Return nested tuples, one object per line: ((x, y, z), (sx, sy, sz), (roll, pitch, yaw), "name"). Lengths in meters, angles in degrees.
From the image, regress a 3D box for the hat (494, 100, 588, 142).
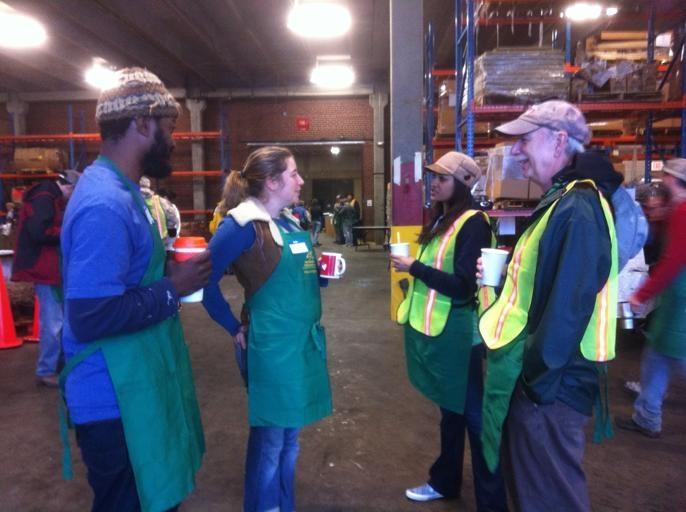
((1.152, -0.785, 3.517), (0.576, 0.272, 0.370), (4, 14, -2), "hat")

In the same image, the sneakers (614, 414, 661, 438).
((2.531, 1.456, 4.987), (0.129, 0.152, 0.361), (-9, 16, -44), "sneakers")

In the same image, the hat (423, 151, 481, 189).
((0.771, -0.610, 4.074), (0.320, 0.171, 0.232), (26, 7, -14), "hat")

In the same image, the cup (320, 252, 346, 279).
((-0.057, 0.070, 3.857), (0.184, 0.171, 0.121), (14, -1, -2), "cup")

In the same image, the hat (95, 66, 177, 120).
((-1.128, -0.813, 3.129), (0.321, 0.213, 0.327), (-4, 5, -22), "hat")

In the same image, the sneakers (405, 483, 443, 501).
((0.584, 1.688, 4.209), (0.260, 0.112, 0.112), (3, -4, 1), "sneakers")

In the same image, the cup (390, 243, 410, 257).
((0.399, -0.038, 4.177), (0.097, 0.100, 0.097), (-2, 3, 0), "cup")

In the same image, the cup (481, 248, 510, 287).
((0.871, 0.056, 3.481), (0.184, 0.213, 0.198), (8, 7, -1), "cup")
